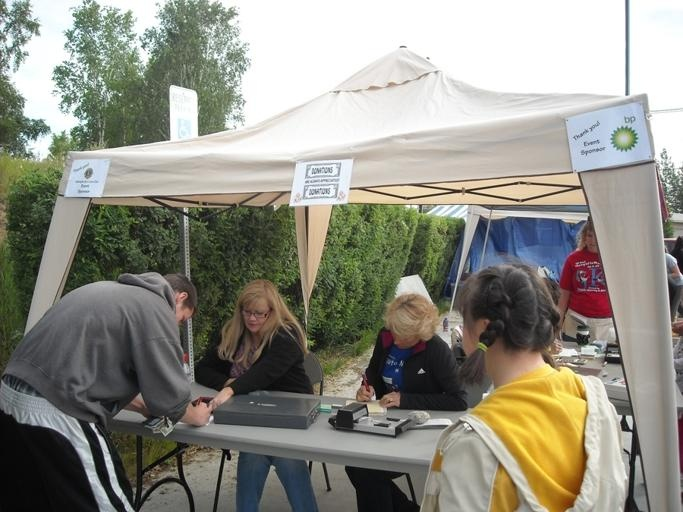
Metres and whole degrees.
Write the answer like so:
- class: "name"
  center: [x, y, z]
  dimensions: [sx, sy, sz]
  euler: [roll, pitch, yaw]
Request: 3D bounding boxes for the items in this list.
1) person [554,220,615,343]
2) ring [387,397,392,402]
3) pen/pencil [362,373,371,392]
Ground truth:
- class: "person"
  center: [2.521, 0.585, 5.512]
  dimensions: [0.596, 1.919, 0.470]
  euler: [-1, 26, 20]
- class: "ring"
  center: [0.306, 0.907, 3.415]
  dimensions: [0.021, 0.019, 0.022]
  euler: [0, 8, 0]
- class: "pen/pencil"
  center: [0.163, 0.851, 3.633]
  dimensions: [0.026, 0.186, 0.027]
  euler: [15, -36, -42]
